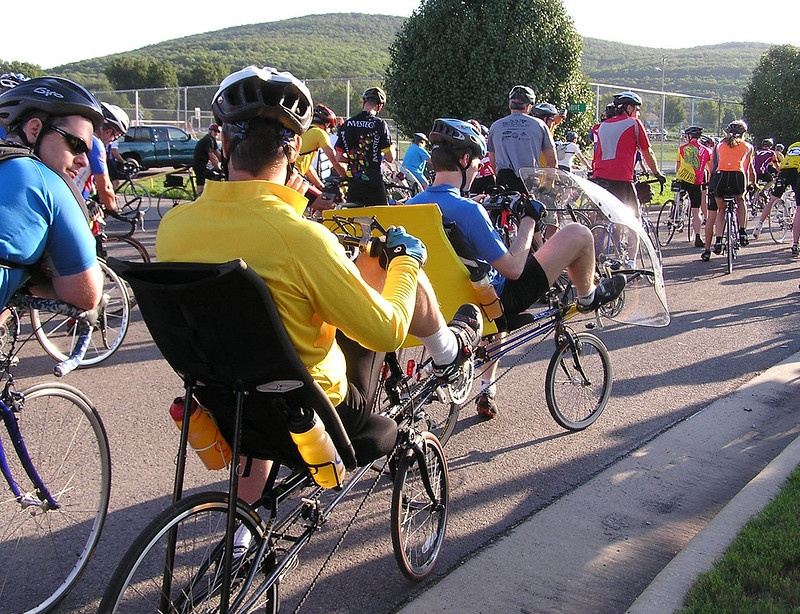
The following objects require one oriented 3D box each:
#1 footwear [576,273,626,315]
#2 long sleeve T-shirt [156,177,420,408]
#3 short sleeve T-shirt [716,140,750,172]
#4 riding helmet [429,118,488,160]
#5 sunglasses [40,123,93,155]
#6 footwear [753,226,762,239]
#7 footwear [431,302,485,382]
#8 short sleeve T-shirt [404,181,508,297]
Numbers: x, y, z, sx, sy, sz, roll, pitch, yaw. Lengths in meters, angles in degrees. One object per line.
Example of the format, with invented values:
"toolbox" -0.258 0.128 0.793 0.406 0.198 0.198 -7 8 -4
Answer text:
"footwear" 1.463 -0.103 5.086 0.313 0.108 0.149 -34 -17 -6
"long sleeve T-shirt" -0.370 -0.208 2.798 0.911 0.810 0.845 20 32 39
"short sleeve T-shirt" 5.584 -2.531 11.654 0.515 0.300 0.534 3 53 35
"riding helmet" 0.380 -1.084 4.543 0.308 0.169 0.240 20 8 -19
"sunglasses" -1.589 -0.804 3.330 0.127 0.041 0.130 36 5 19
"footwear" 7.637 -1.583 14.827 0.147 0.487 0.197 9 60 28
"footwear" 0.317 0.162 3.652 0.173 0.205 0.473 -13 32 29
"short sleeve T-shirt" 0.350 -0.404 4.323 0.407 0.677 0.779 -38 31 -10
